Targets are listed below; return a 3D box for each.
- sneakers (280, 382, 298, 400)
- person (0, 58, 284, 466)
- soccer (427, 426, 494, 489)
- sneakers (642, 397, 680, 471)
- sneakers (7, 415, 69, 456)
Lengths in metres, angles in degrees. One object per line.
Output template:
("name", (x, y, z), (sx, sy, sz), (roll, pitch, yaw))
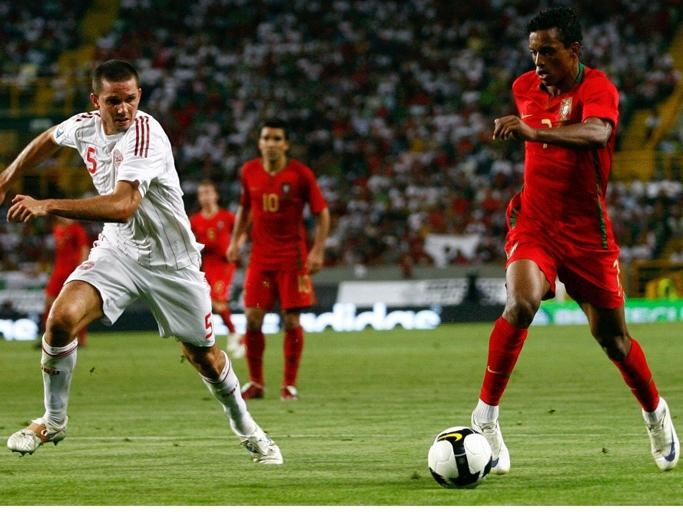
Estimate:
("sneakers", (-0.491, 1.265, 10.484), (0.156, 0.126, 0.144), (-2, -2, 3))
("person", (-1.537, 0.062, 7.955), (1.689, 2.837, 1.061), (-3, 11, -15))
("soccer", (0.782, 1.337, 7.511), (0.422, 0.366, 0.363), (-1, -32, 6))
("sneakers", (2.215, 1.261, 7.823), (0.196, 0.523, 0.249), (-21, -34, 39))
("sneakers", (-2.094, 1.225, 7.841), (0.200, 0.230, 0.498), (19, 19, 40))
